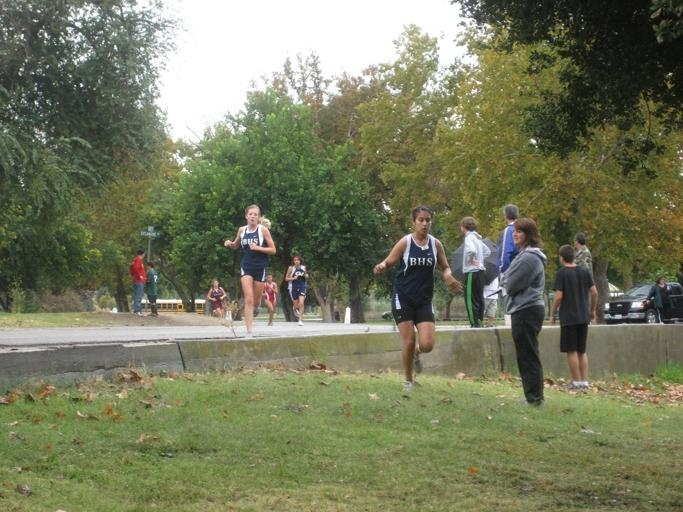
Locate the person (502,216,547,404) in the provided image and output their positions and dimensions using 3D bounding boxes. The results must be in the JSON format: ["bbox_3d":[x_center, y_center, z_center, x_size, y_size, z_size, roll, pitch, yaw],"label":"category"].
[{"bbox_3d":[2.932,0.811,14.199,0.508,2.790,0.879,-3,8,-38],"label":"person"}]

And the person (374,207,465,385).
[{"bbox_3d":[1.151,0.619,13.937,1.077,2.788,0.495,2,6,2],"label":"person"}]

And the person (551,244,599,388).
[{"bbox_3d":[4.119,1.047,16.166,0.838,2.486,0.489,2,6,-3],"label":"person"}]

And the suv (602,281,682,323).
[{"bbox_3d":[11.719,1.859,34.594,3.133,1.344,1.411,7,-10,-43],"label":"suv"}]

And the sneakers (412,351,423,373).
[{"bbox_3d":[1.245,1.720,14.795,0.131,0.447,0.167,-7,4,7],"label":"sneakers"}]

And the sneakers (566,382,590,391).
[{"bbox_3d":[4.204,2.281,16.188,0.379,0.187,0.147,4,3,31],"label":"sneakers"}]
